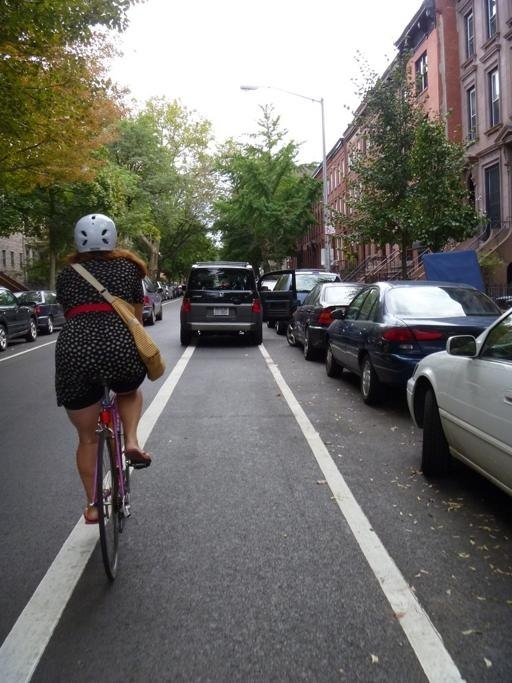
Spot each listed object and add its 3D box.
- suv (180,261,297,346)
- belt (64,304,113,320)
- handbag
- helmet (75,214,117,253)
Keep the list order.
[{"bbox_3d":[-1.176,-1.754,16.382,2.260,2.893,5.112,0,18,-5],"label":"suv"},{"bbox_3d":[-0.850,-0.142,2.362,0.322,0.075,0.123,-1,-2,36],"label":"belt"},{"bbox_3d":[-0.679,-0.094,2.402,0.457,0.594,0.242,1,-1,-26],"label":"handbag"},{"bbox_3d":[-0.835,-0.599,2.549,0.152,0.191,0.248,0,47,-1],"label":"helmet"}]
